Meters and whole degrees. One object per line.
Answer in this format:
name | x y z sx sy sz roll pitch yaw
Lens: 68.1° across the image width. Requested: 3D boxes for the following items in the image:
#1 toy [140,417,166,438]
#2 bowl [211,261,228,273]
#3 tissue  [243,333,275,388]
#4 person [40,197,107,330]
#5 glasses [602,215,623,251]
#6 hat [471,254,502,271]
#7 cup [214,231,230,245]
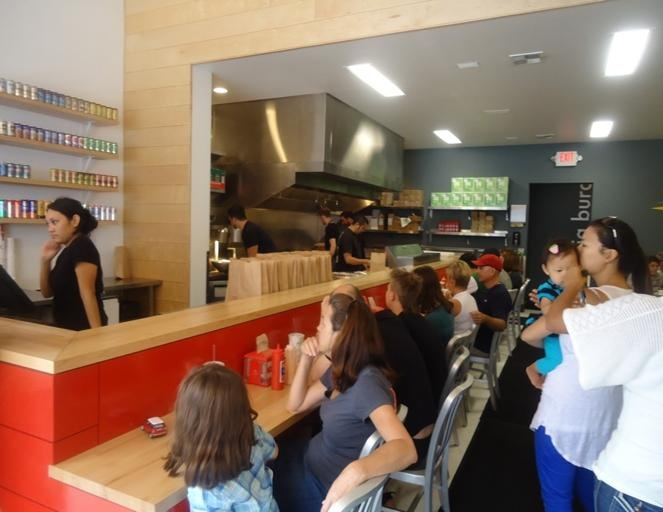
toy | -0.759 0.721 2.107 0.060 0.049 0.098 -3 14 -40
bowl | -1.197 0.126 5.307 0.139 0.076 0.143 0 -4 0
tissue  | -0.385 0.570 2.750 0.158 0.262 0.207 4 1 12
person | -1.596 0.032 3.005 0.615 0.787 0.269 2 5 37
glasses | 1.263 -0.115 2.208 0.047 0.126 0.087 -6 2 31
hat | 1.489 0.045 4.623 0.207 0.119 0.149 5 5 19
cup | -1.299 -0.234 5.882 0.129 0.149 0.151 4 1 -14
